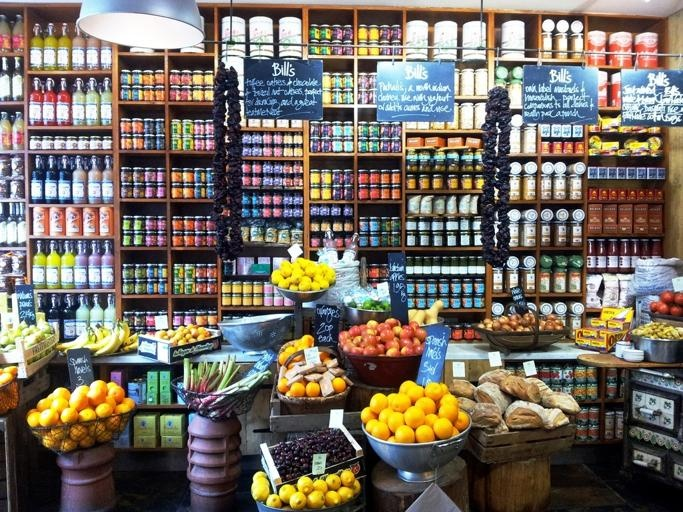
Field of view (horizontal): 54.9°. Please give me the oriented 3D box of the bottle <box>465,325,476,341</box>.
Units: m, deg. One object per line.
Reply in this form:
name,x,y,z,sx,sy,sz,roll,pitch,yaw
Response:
bottle,1.225,0.718,6.229,0.109,0.144,0.110,-4,4,0

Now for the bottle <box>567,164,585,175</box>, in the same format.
bottle,2.242,-0.825,6.217,0.169,0.126,0.087,-2,4,17

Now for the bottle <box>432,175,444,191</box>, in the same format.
bottle,0.904,-0.689,6.190,0.141,0.139,0.134,1,2,13

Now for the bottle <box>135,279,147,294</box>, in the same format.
bottle,-1.874,0.288,6.203,0.120,0.172,0.123,0,2,0

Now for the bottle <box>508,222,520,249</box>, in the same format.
bottle,1.678,-0.209,6.299,0.102,0.243,0.090,-4,4,5

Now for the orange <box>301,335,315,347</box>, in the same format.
orange,-0.223,0.595,4.653,0.086,0.078,0.081,1,-3,34

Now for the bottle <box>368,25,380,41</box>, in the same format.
bottle,0.319,-2.083,6.156,0.114,0.156,0.046,-6,5,-22

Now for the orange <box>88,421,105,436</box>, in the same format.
orange,-1.652,1.156,4.439,0.094,0.112,0.040,-6,5,-24

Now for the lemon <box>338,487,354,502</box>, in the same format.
lemon,0.030,1.404,3.885,0.083,0.090,0.082,1,-1,29

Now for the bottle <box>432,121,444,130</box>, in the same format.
bottle,0.912,-1.220,6.125,0.081,0.050,0.076,2,4,0

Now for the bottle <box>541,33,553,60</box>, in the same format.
bottle,1.946,-1.988,6.167,0.107,0.263,0.332,-3,4,18

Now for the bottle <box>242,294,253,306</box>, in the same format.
bottle,-0.872,0.402,6.120,0.106,0.100,0.099,0,-1,-1

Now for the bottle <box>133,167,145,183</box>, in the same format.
bottle,-1.887,-0.751,6.104,0.133,0.133,0.131,1,0,29

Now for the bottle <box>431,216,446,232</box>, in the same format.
bottle,0.915,-0.303,6.171,0.134,0.133,0.129,0,0,19

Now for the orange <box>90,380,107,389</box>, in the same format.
orange,-1.679,0.882,4.545,0.073,0.060,0.065,-35,-41,30

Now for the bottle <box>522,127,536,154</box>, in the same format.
bottle,1.802,-1.101,6.212,0.136,0.263,0.061,-4,4,2

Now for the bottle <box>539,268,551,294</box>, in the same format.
bottle,1.960,0.236,6.300,0.125,0.235,0.066,-5,4,-5

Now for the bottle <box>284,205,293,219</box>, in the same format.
bottle,-0.496,-0.412,6.129,0.112,0.135,0.080,3,8,15

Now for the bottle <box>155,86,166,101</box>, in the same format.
bottle,-1.684,-1.505,6.091,0.131,0.117,0.122,0,4,-13

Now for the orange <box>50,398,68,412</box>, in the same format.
orange,-1.877,0.986,4.374,0.113,0.085,0.088,-14,25,-28

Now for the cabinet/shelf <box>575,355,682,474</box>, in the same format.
cabinet/shelf,2.200,1.101,5.025,0.720,0.344,0.525,0,0,-26

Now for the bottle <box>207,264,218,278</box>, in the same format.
bottle,-1.211,0.138,6.129,0.120,0.191,0.119,0,0,0

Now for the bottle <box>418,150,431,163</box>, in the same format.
bottle,0.775,-0.925,6.072,0.121,0.101,0.113,1,1,4

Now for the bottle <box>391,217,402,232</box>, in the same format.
bottle,0.520,-0.299,6.163,0.094,0.134,0.023,-5,4,-18

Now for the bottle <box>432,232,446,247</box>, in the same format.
bottle,0.934,-0.157,6.191,0.130,0.124,0.123,1,1,9

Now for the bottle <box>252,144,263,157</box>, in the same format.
bottle,-0.783,-0.978,6.064,0.135,0.160,0.056,1,8,-2

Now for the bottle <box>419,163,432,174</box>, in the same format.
bottle,0.798,-0.811,6.115,0.133,0.077,0.067,0,2,-4

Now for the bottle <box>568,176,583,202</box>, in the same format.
bottle,2.242,-0.654,6.245,0.144,0.230,0.059,-3,4,10

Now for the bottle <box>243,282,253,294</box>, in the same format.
bottle,-0.874,0.294,6.063,0.108,0.103,0.102,1,-1,-30

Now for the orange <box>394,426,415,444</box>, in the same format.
orange,0.378,1.054,3.930,0.102,0.108,0.104,-7,3,42

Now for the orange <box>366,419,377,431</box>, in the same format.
orange,0.184,1.016,3.980,0.065,0.068,0.063,-5,-2,27

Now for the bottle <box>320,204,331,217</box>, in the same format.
bottle,-0.146,-0.423,6.141,0.134,0.158,0.091,0,-4,2

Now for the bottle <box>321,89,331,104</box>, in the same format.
bottle,-0.129,-1.475,6.112,0.046,0.141,0.085,-1,5,37

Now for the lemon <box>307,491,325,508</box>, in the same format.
lemon,-0.146,1.415,3.880,0.099,0.110,0.090,10,46,-6

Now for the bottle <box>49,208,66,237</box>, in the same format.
bottle,-2.648,-0.319,6.106,0.138,0.275,0.047,-6,5,-21

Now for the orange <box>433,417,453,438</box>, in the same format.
orange,0.602,1.030,3.948,0.117,0.119,0.109,0,-14,-11

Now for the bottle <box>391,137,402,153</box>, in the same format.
bottle,0.507,-1.039,6.122,0.131,0.128,0.123,1,2,1

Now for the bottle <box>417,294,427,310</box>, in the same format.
bottle,0.758,0.429,6.182,0.116,0.150,0.109,0,1,0

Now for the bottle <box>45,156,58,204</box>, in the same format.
bottle,-2.703,-0.706,6.121,0.122,0.443,0.115,3,8,0

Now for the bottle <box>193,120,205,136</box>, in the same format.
bottle,-1.319,-1.192,6.090,0.131,0.128,0.123,2,7,6

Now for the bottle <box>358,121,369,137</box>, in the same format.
bottle,0.209,-1.182,6.117,0.138,0.136,0.128,1,3,-5

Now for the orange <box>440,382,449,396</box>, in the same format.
orange,0.647,0.833,4.119,0.071,0.078,0.068,-8,-8,3

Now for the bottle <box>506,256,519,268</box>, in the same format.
bottle,1.596,0.056,6.116,0.113,0.100,0.057,-11,13,-24

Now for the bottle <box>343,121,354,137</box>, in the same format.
bottle,0.075,-1.175,6.139,0.109,0.160,0.052,-6,5,-21

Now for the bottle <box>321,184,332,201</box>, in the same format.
bottle,-0.136,-0.589,6.118,0.121,0.114,0.113,1,3,-3

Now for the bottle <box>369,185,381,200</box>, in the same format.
bottle,0.320,-0.593,6.073,0.124,0.117,0.116,1,2,1

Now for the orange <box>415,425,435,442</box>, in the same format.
orange,0.504,1.043,3.879,0.102,0.109,0.098,-9,7,11

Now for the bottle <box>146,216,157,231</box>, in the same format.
bottle,-1.774,-0.311,6.210,0.135,0.169,0.125,0,-1,0

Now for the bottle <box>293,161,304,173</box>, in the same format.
bottle,-0.401,-0.827,6.105,0.100,0.151,0.107,0,2,0

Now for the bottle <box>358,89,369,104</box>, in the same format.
bottle,0.211,-1.484,6.095,0.124,0.123,0.117,2,3,6

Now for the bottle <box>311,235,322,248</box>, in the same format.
bottle,-0.238,-0.134,6.176,0.117,0.141,0.107,1,-3,0
